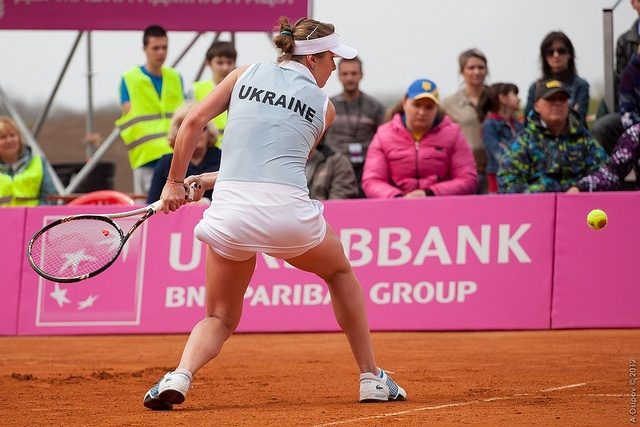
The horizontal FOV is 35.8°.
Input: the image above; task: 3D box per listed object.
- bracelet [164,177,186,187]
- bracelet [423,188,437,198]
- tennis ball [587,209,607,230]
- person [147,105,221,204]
[{"bbox_3d":[-1.221,-0.260,8.286,0.158,0.064,0.106,0,2,4],"label":"bracelet"},{"bbox_3d":[1.130,-0.216,10.143,0.115,0.077,0.058,0,2,7],"label":"bracelet"},{"bbox_3d":[2.735,0.058,9.787,0.184,0.221,0.184,1,9,0],"label":"tennis ball"},{"bbox_3d":[-1.417,-0.500,10.491,0.793,1.115,0.398,15,-5,-16],"label":"person"}]
